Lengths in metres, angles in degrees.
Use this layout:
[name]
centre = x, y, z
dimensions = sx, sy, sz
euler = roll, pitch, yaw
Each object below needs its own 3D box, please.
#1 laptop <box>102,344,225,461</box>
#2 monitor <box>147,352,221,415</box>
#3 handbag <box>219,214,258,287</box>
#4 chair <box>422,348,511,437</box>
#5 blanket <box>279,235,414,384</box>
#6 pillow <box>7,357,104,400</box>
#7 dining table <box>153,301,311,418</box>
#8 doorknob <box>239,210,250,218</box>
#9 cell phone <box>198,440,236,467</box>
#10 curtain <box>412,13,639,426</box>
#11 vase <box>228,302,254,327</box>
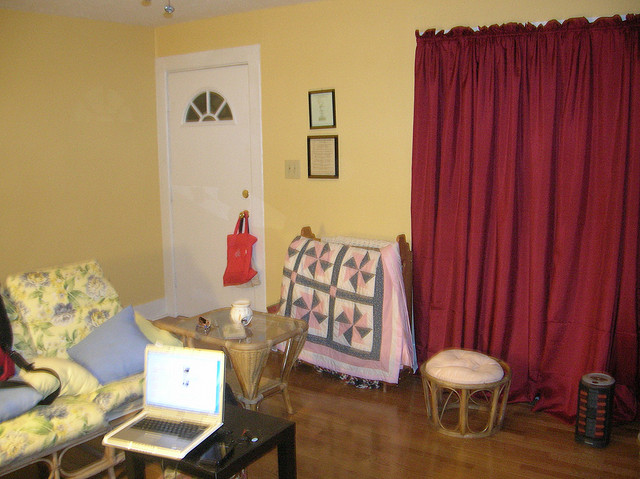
[laptop]
centre = -0.646, 0.658, 2.111
dimensions = 0.472, 0.321, 0.436
euler = 0, 5, -5
[monitor]
centre = -0.580, 0.605, 2.268
dimensions = 0.347, 0.257, 0.216
euler = 6, 8, 14
[handbag]
centre = -0.749, 0.129, 4.402
dimensions = 0.410, 0.667, 0.217
euler = 3, 15, 22
[chair]
centre = 0.914, 0.929, 3.119
dimensions = 0.479, 0.426, 0.527
euler = 7, 17, 35
[blanket]
centre = 0.217, 0.521, 3.545
dimensions = 0.842, 0.831, 0.340
euler = 11, 15, 31
[pillow]
centre = -1.362, 0.721, 2.656
dimensions = 0.253, 0.085, 0.223
euler = 14, 2, -44
[dining table]
centre = -0.569, 0.839, 3.282
dimensions = 0.917, 0.571, 0.639
euler = 2, 4, 36
[doorknob]
centre = -0.662, -0.216, 4.371
dimensions = 0.100, 0.055, 0.087
euler = 0, 14, 12
[cell phone]
centre = -0.426, 0.883, 2.093
dimensions = 0.093, 0.022, 0.140
euler = 4, 15, 26
[curtain]
centre = 1.344, -0.149, 3.304
dimensions = 1.509, 2.450, 0.566
euler = 7, 17, 34
[vase]
centre = -0.496, 0.461, 3.229
dimensions = 0.136, 0.147, 0.139
euler = 8, 12, 30
